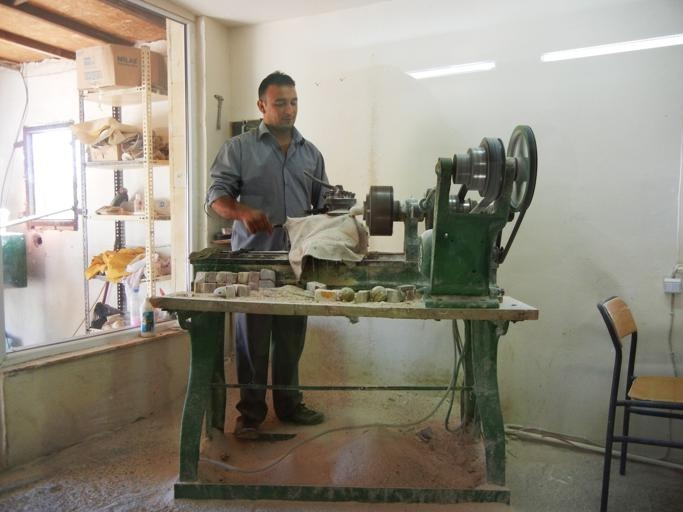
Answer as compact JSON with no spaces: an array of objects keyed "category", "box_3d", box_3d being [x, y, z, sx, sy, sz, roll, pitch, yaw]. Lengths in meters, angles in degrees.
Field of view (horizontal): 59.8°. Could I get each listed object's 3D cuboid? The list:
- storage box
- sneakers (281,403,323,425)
[{"category":"storage box","box_3d":[-1.748,-1.452,4.594,0.521,0.287,0.570,-5,10,-12]},{"category":"sneakers","box_3d":[-0.224,0.928,3.495,0.246,0.112,0.097,-3,-6,15]}]
